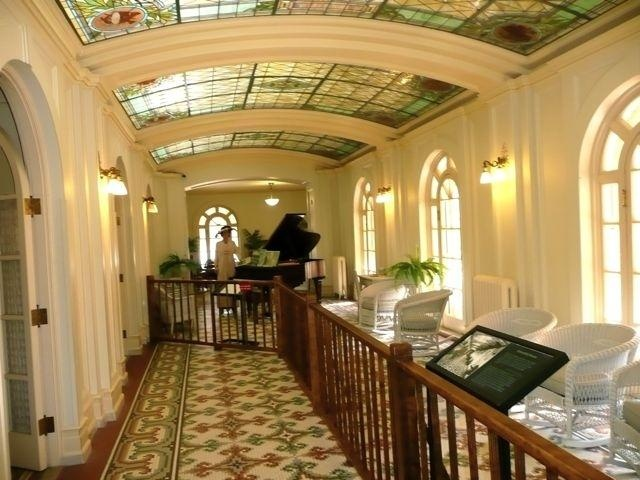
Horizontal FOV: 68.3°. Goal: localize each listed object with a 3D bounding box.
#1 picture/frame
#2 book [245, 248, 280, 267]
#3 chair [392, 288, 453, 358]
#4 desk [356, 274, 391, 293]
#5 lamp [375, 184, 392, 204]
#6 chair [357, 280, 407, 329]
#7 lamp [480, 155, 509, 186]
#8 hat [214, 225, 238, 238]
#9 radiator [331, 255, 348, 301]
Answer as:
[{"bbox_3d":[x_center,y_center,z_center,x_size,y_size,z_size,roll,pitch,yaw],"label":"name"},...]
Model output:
[{"bbox_3d":[1.005,0.742,2.863,0.455,0.294,0.814,-6,5,-14],"label":"picture/frame"},{"bbox_3d":[-1.065,0.399,10.564,0.879,0.334,0.543,2,2,25],"label":"book"},{"bbox_3d":[1.787,1.222,7.266,1.243,1.021,1.145,1,-4,1],"label":"chair"},{"bbox_3d":[1.084,0.884,10.300,0.498,0.424,0.563,2,3,-14],"label":"desk"},{"bbox_3d":[1.395,-1.017,10.478,0.332,0.344,0.454,-4,12,-40],"label":"lamp"},{"bbox_3d":[1.140,1.223,9.049,1.164,0.855,0.976,1,0,-11],"label":"chair"},{"bbox_3d":[2.470,-1.019,6.804,0.319,0.400,0.514,-6,5,0],"label":"lamp"},{"bbox_3d":[-2.905,-0.283,14.595,0.706,0.162,0.640,-15,-9,10],"label":"hat"},{"bbox_3d":[0.574,1.048,13.294,0.464,1.160,0.794,-7,6,1],"label":"radiator"}]
